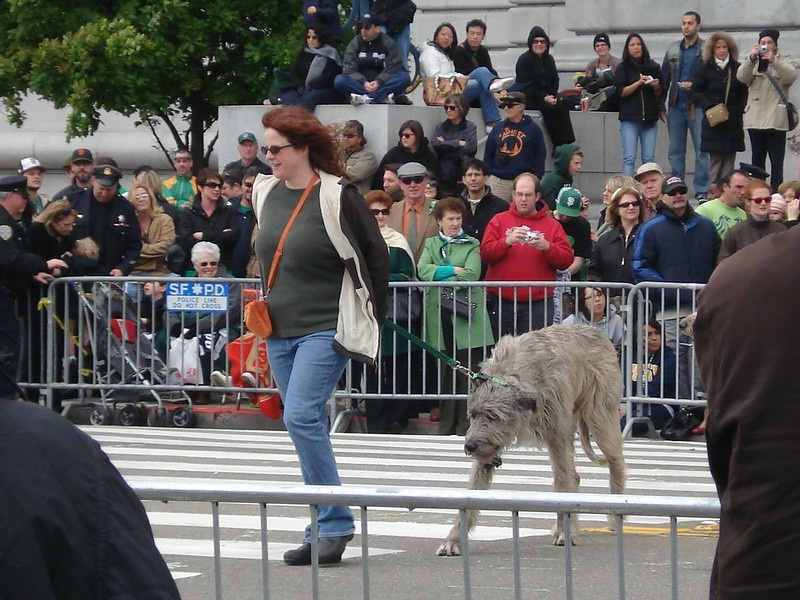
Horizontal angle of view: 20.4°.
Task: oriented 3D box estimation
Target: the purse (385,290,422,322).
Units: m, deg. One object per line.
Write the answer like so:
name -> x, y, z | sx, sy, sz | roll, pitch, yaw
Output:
purse -> 0.060, 0.043, 24.555 | 0.369, 0.342, 0.108 | 3, 1, 1

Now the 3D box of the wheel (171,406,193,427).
wheel -> -2.449, 1.287, 25.116 | 0.224, 0.209, 0.078 | 7, 4, 14

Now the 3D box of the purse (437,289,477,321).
purse -> 0.633, 0.021, 24.422 | 0.401, 0.287, 0.138 | 8, -31, -7

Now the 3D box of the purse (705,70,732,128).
purse -> 4.063, -2.574, 28.434 | 0.177, 0.700, 0.338 | -5, 5, -42

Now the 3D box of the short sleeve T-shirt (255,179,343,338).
short sleeve T-shirt -> -0.919, -0.413, 20.217 | 0.944, 1.447, 0.975 | 8, -8, -30

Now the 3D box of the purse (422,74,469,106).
purse -> 0.586, -2.788, 29.321 | 0.720, 0.462, 0.383 | 1, 4, -1

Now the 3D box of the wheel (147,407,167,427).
wheel -> -2.729, 1.296, 25.146 | 0.231, 0.212, 0.210 | -2, -5, -20

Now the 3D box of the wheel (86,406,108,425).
wheel -> -3.432, 1.285, 25.260 | 0.180, 0.174, 0.070 | -29, -12, 35

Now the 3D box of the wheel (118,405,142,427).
wheel -> -3.039, 1.285, 25.177 | 0.246, 0.227, 0.090 | -3, 1, 1
